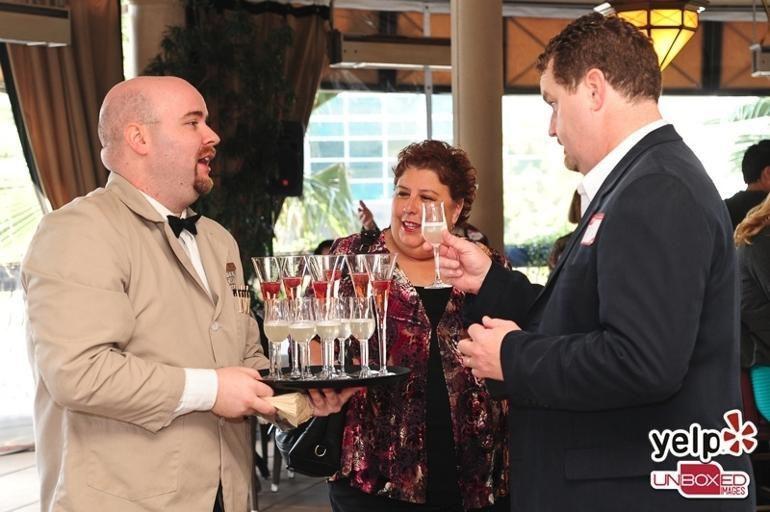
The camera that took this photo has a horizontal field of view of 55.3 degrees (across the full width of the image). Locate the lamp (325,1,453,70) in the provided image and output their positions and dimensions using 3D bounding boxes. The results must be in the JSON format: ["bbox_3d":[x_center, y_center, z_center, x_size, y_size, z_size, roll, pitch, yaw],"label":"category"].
[{"bbox_3d":[0.042,-2.095,7.257,0.785,0.223,0.711,1,-3,-9],"label":"lamp"}]
